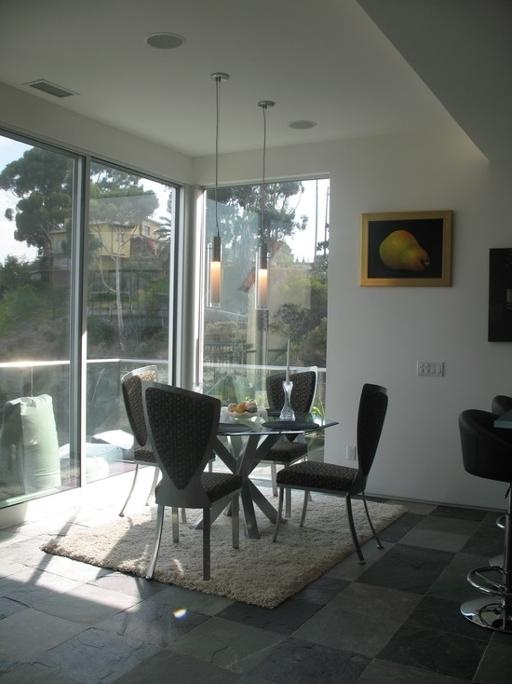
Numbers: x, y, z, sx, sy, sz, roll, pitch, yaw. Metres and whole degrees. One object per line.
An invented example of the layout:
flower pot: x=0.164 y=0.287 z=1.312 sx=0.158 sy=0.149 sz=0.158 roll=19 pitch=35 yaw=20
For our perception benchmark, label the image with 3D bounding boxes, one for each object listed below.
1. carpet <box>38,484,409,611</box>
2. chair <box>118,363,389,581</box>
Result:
carpet: x=-0.147 y=1.179 z=3.501 sx=1.642 sy=0.055 sz=1.887 roll=-1 pitch=-3 yaw=32
chair: x=-0.057 y=0.581 z=3.695 sx=1.415 sy=1.058 sz=1.826 roll=4 pitch=2 yaw=25
